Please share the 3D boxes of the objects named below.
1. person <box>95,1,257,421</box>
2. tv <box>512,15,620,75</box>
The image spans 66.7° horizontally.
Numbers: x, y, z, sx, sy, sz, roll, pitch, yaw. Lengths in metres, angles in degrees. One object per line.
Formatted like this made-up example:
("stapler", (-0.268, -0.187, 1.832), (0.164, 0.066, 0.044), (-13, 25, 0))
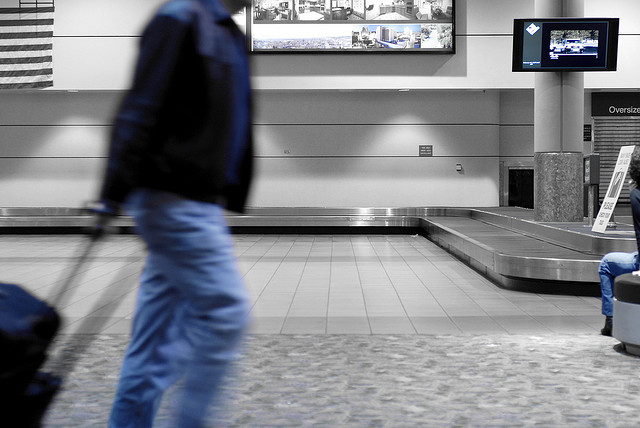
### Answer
("person", (-0.508, 0.019, 1.726), (0.553, 1.602, 0.347), (-1, 7, -6))
("tv", (3.453, -2.356, 6.784), (0.250, 0.748, 1.520), (-25, 29, -21))
